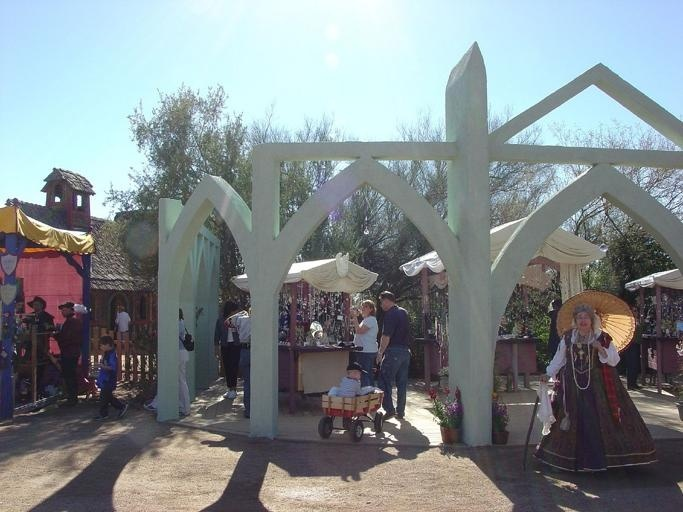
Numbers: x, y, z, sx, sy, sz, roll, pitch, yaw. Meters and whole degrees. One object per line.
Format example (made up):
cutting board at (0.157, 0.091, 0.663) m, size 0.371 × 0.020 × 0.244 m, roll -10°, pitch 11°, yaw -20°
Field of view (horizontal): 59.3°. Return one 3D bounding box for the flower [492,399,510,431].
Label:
flower at (2.488, 2.506, 9.442) m, size 0.219 × 0.530 × 0.610 m, roll 0°, pitch 1°, yaw 18°

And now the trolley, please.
trolley at (0.202, 2.351, 9.766) m, size 0.700 × 1.260 × 1.163 m, roll 0°, pitch -3°, yaw 28°

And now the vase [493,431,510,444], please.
vase at (2.426, 2.767, 9.180) m, size 0.180 × 0.151 × 0.183 m, roll 10°, pitch -17°, yaw -38°

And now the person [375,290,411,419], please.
person at (0.900, 1.793, 10.784) m, size 0.484 × 2.266 × 0.845 m, roll 1°, pitch 2°, yaw 33°

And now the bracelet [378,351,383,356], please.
bracelet at (0.676, 1.706, 10.467) m, size 0.047 × 0.068 × 0.058 m, roll 0°, pitch -11°, yaw -5°

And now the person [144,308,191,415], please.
person at (-3.185, 1.964, 11.293) m, size 0.729 × 1.928 × 0.974 m, roll -1°, pitch 1°, yaw -25°

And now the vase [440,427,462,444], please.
vase at (1.677, 2.764, 9.245) m, size 0.252 × 0.238 × 0.236 m, roll 4°, pitch -14°, yaw -13°

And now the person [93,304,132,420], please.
person at (-4.254, 2.184, 11.062) m, size 0.496 × 1.533 × 0.959 m, roll -1°, pitch 1°, yaw -22°

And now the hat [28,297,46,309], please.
hat at (-7.179, 1.099, 14.080) m, size 0.441 × 0.213 × 0.430 m, roll 8°, pitch -16°, yaw -8°

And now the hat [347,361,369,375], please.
hat at (0.283, 1.831, 9.823) m, size 0.406 × 0.204 × 0.259 m, roll 15°, pitch -12°, yaw -37°

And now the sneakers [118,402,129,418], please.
sneakers at (-4.042, 2.868, 11.056) m, size 0.113 × 0.168 × 0.407 m, roll 2°, pitch -47°, yaw -9°

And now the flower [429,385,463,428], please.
flower at (1.726, 2.443, 9.513) m, size 0.621 × 0.786 × 0.490 m, roll -15°, pitch -16°, yaw 43°

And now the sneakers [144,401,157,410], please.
sneakers at (-3.688, 2.885, 11.574) m, size 0.269 × 0.142 × 0.118 m, roll -2°, pitch -17°, yaw 30°

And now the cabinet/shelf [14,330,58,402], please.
cabinet/shelf at (-6.196, 2.156, 12.068) m, size 0.561 × 1.487 × 1.004 m, roll 0°, pitch 1°, yaw 14°
